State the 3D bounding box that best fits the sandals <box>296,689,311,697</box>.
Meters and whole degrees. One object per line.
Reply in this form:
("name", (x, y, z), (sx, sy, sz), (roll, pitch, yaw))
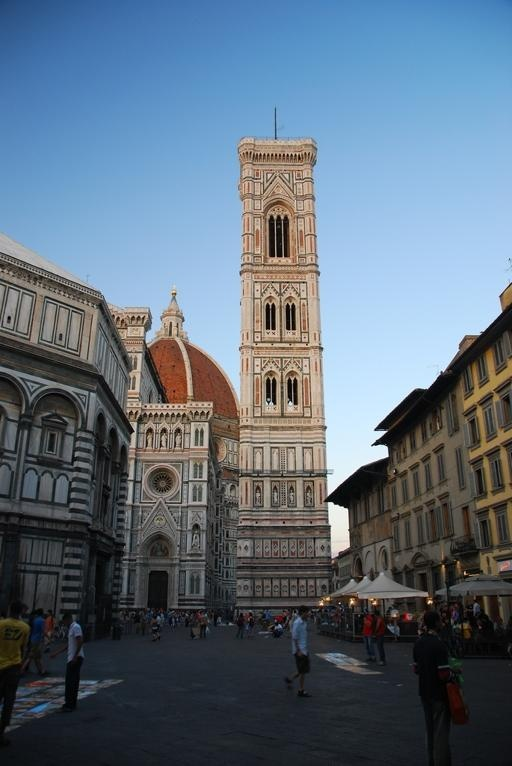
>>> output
("sandals", (0.788, 5.217, 8.618), (0.248, 0.172, 0.084), (1, -14, -13))
